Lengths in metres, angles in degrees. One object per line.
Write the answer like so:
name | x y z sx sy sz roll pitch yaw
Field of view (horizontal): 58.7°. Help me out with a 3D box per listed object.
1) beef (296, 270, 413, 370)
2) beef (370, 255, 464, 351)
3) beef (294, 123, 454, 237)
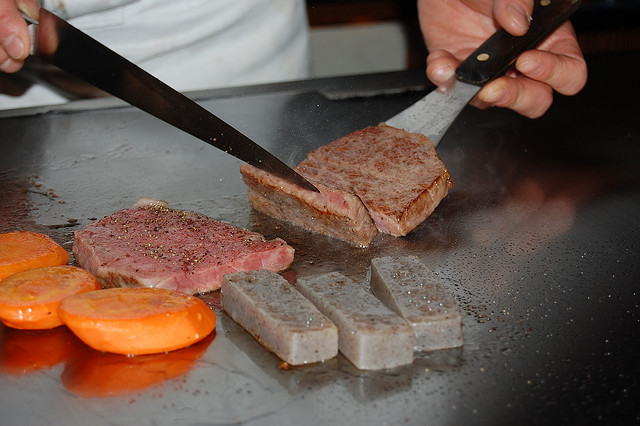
beef | 0.110 0.305 1.730 0.196 0.098 0.407 -27 52 -16
beef | 0.307 0.276 1.823 0.183 0.110 0.370 -7 30 -16
beef | 0.254 -0.151 2.407 0.669 0.135 0.650 -15 42 -10
